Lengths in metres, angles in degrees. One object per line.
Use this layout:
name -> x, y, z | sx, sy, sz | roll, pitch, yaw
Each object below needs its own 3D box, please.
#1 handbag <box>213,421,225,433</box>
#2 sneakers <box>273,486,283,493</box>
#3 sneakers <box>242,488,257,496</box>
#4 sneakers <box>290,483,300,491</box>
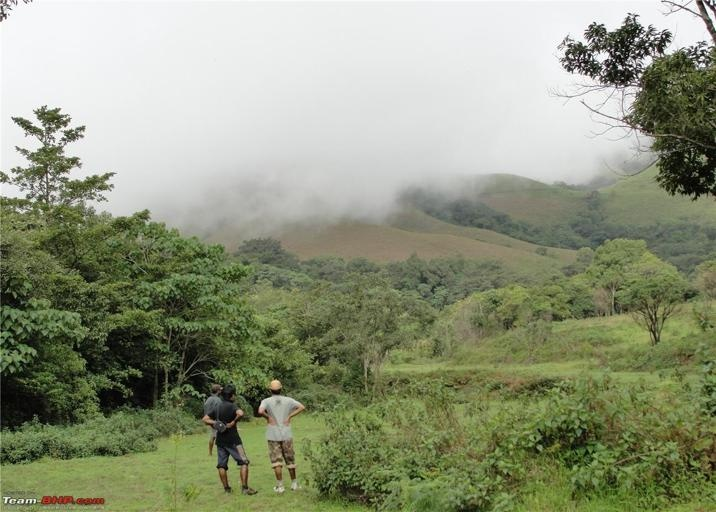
handbag -> -3.511, 4.315, 15.784 | 0.292, 0.311, 0.090 | -9, -11, 13
sneakers -> -2.023, 5.922, 15.840 | 0.298, 0.132, 0.114 | -9, -9, 34
sneakers -> -2.762, 5.939, 15.777 | 0.309, 0.137, 0.165 | 4, -5, 3
sneakers -> -1.625, 5.885, 15.971 | 0.132, 0.254, 0.258 | -1, -9, 18
